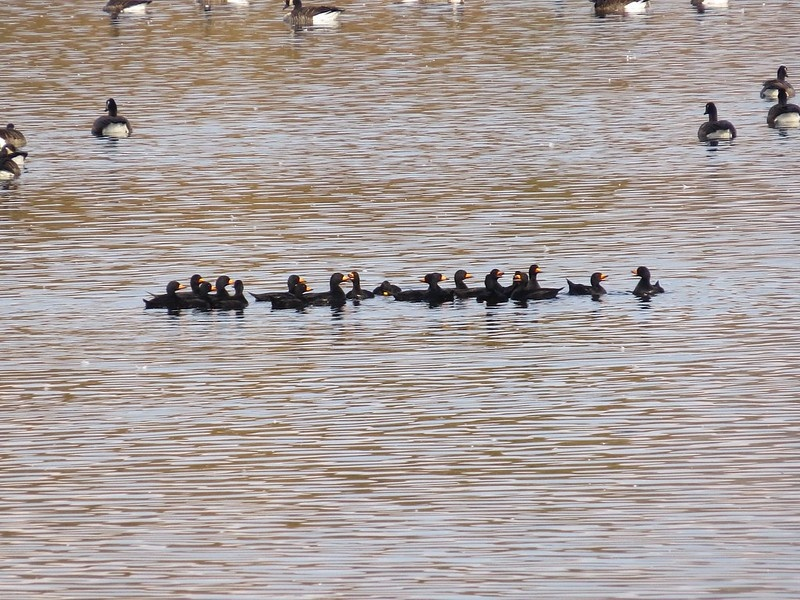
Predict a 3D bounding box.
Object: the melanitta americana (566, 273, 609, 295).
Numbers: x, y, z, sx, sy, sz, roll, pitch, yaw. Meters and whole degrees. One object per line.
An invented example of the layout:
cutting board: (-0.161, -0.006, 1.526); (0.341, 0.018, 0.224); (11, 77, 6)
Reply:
melanitta americana: (4.039, -0.345, 36.971); (0.795, 0.552, 0.474); (-1, 18, 8)
